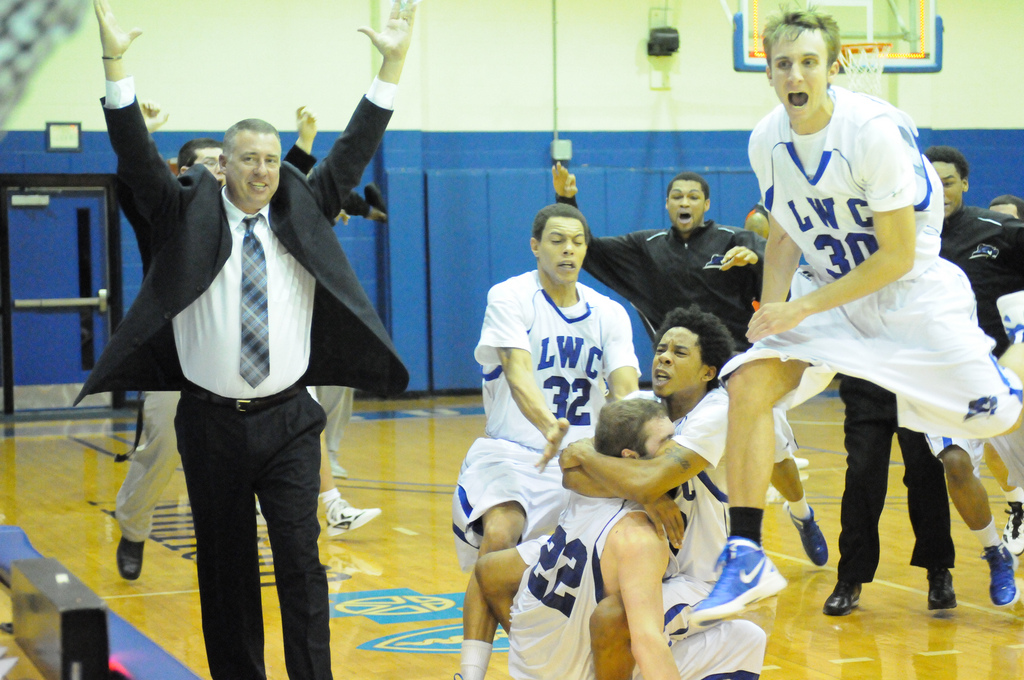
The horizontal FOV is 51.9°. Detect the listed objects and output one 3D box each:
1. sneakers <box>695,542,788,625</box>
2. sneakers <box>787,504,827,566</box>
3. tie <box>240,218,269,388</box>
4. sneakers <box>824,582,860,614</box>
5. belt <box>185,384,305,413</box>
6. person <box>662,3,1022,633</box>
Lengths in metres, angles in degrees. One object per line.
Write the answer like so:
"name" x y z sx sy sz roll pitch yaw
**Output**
"sneakers" 0.837 0.909 4.077 0.473 0.267 0.172 -14 -1 -35
"sneakers" 1.831 1.231 6.580 0.141 0.407 0.157 -23 16 12
"tie" -1.096 -0.152 4.449 0.111 0.496 0.160 -3 2 -7
"sneakers" 1.782 1.408 5.701 0.106 0.114 0.272 -1 -7 33
"belt" -1.132 0.239 4.471 0.534 0.086 0.182 -3 1 -13
"person" 1.400 -0.170 4.453 1.460 2.433 0.796 -3 2 -11
